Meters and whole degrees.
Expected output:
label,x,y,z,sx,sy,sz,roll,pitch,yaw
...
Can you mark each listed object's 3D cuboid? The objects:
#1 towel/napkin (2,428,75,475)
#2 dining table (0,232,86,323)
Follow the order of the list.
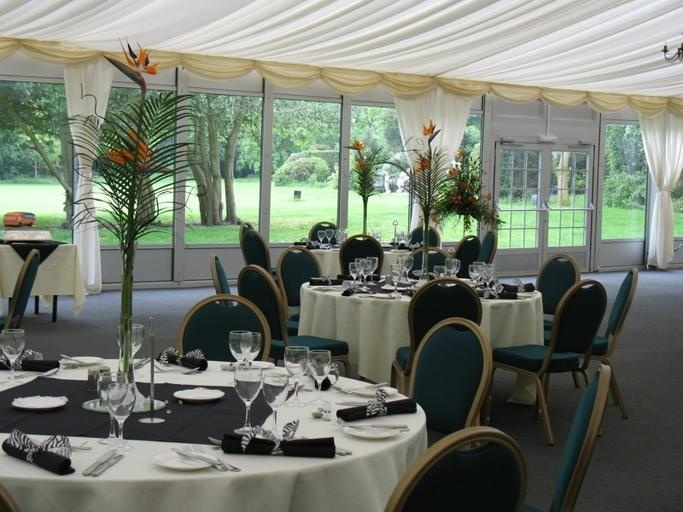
label,x,y,z,sx,sy,sz,roll,pitch,yaw
towel/napkin,-0.895,0.577,1.623,0.288,0.073,0.111,4,8,26
dining table,-3.664,0.263,6.790,0.975,0.808,1.018,2,0,-18
